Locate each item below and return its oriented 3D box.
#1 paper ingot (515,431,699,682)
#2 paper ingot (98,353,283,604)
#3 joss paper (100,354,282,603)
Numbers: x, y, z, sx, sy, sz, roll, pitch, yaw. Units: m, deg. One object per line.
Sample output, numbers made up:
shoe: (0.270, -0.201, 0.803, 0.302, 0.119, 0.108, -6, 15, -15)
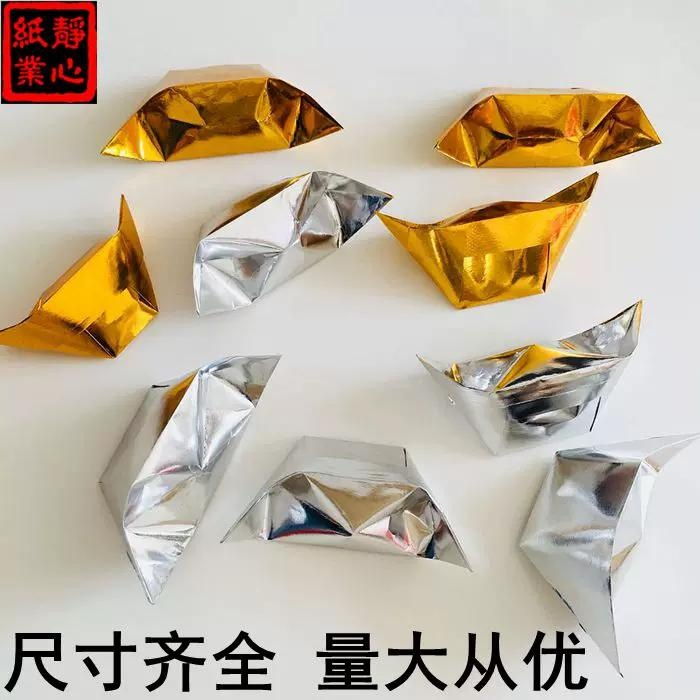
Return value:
paper ingot: (0.228, 0.199, 0.879, 0.053, 0.203, 0.217, 21, 39, -36)
paper ingot: (-0.166, 0.124, 0.874, 0.158, 0.072, 0.219, 41, 75, -6)
joss paper: (-0.181, 0.115, 0.880, 0.160, 0.070, 0.219, 47, 69, -21)
